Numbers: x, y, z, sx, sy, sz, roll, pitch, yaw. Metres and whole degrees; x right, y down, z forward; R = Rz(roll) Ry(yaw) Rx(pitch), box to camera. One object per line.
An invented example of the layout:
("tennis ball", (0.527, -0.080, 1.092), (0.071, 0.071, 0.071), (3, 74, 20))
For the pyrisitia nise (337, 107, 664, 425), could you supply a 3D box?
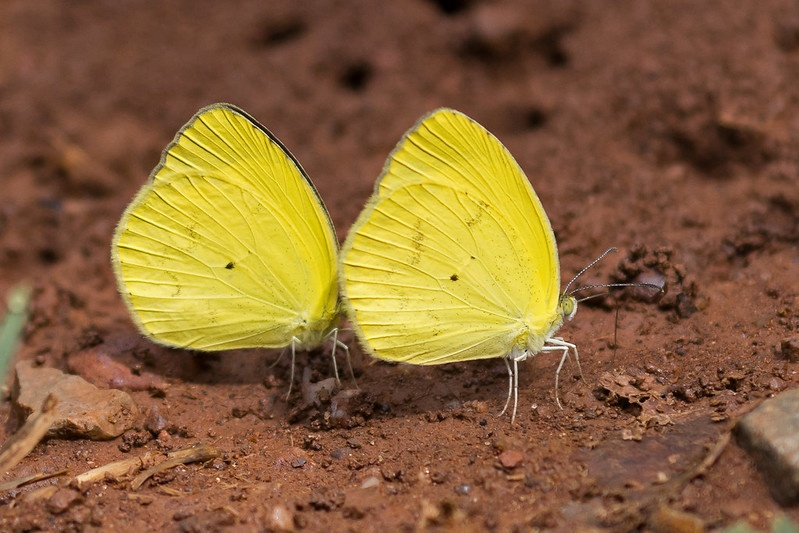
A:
("pyrisitia nise", (0.837, -0.267, 8.854), (3.023, 1.626, 3.390), (-3, 95, 1))
